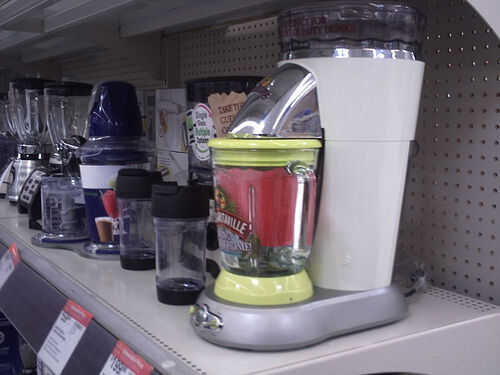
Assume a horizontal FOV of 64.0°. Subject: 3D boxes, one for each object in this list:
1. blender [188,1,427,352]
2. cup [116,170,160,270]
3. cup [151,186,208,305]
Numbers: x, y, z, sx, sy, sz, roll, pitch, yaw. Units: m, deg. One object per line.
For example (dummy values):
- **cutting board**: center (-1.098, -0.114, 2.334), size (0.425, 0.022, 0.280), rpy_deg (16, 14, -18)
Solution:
- **blender**: center (0.109, -0.036, 0.691), size (0.413, 0.547, 0.218), rpy_deg (-6, 10, -35)
- **cup**: center (-0.287, 0.079, 1.054), size (0.112, 0.246, 0.118), rpy_deg (-1, 2, 0)
- **cup**: center (-0.148, 0.119, 0.867), size (0.120, 0.239, 0.119), rpy_deg (0, 1, 0)
